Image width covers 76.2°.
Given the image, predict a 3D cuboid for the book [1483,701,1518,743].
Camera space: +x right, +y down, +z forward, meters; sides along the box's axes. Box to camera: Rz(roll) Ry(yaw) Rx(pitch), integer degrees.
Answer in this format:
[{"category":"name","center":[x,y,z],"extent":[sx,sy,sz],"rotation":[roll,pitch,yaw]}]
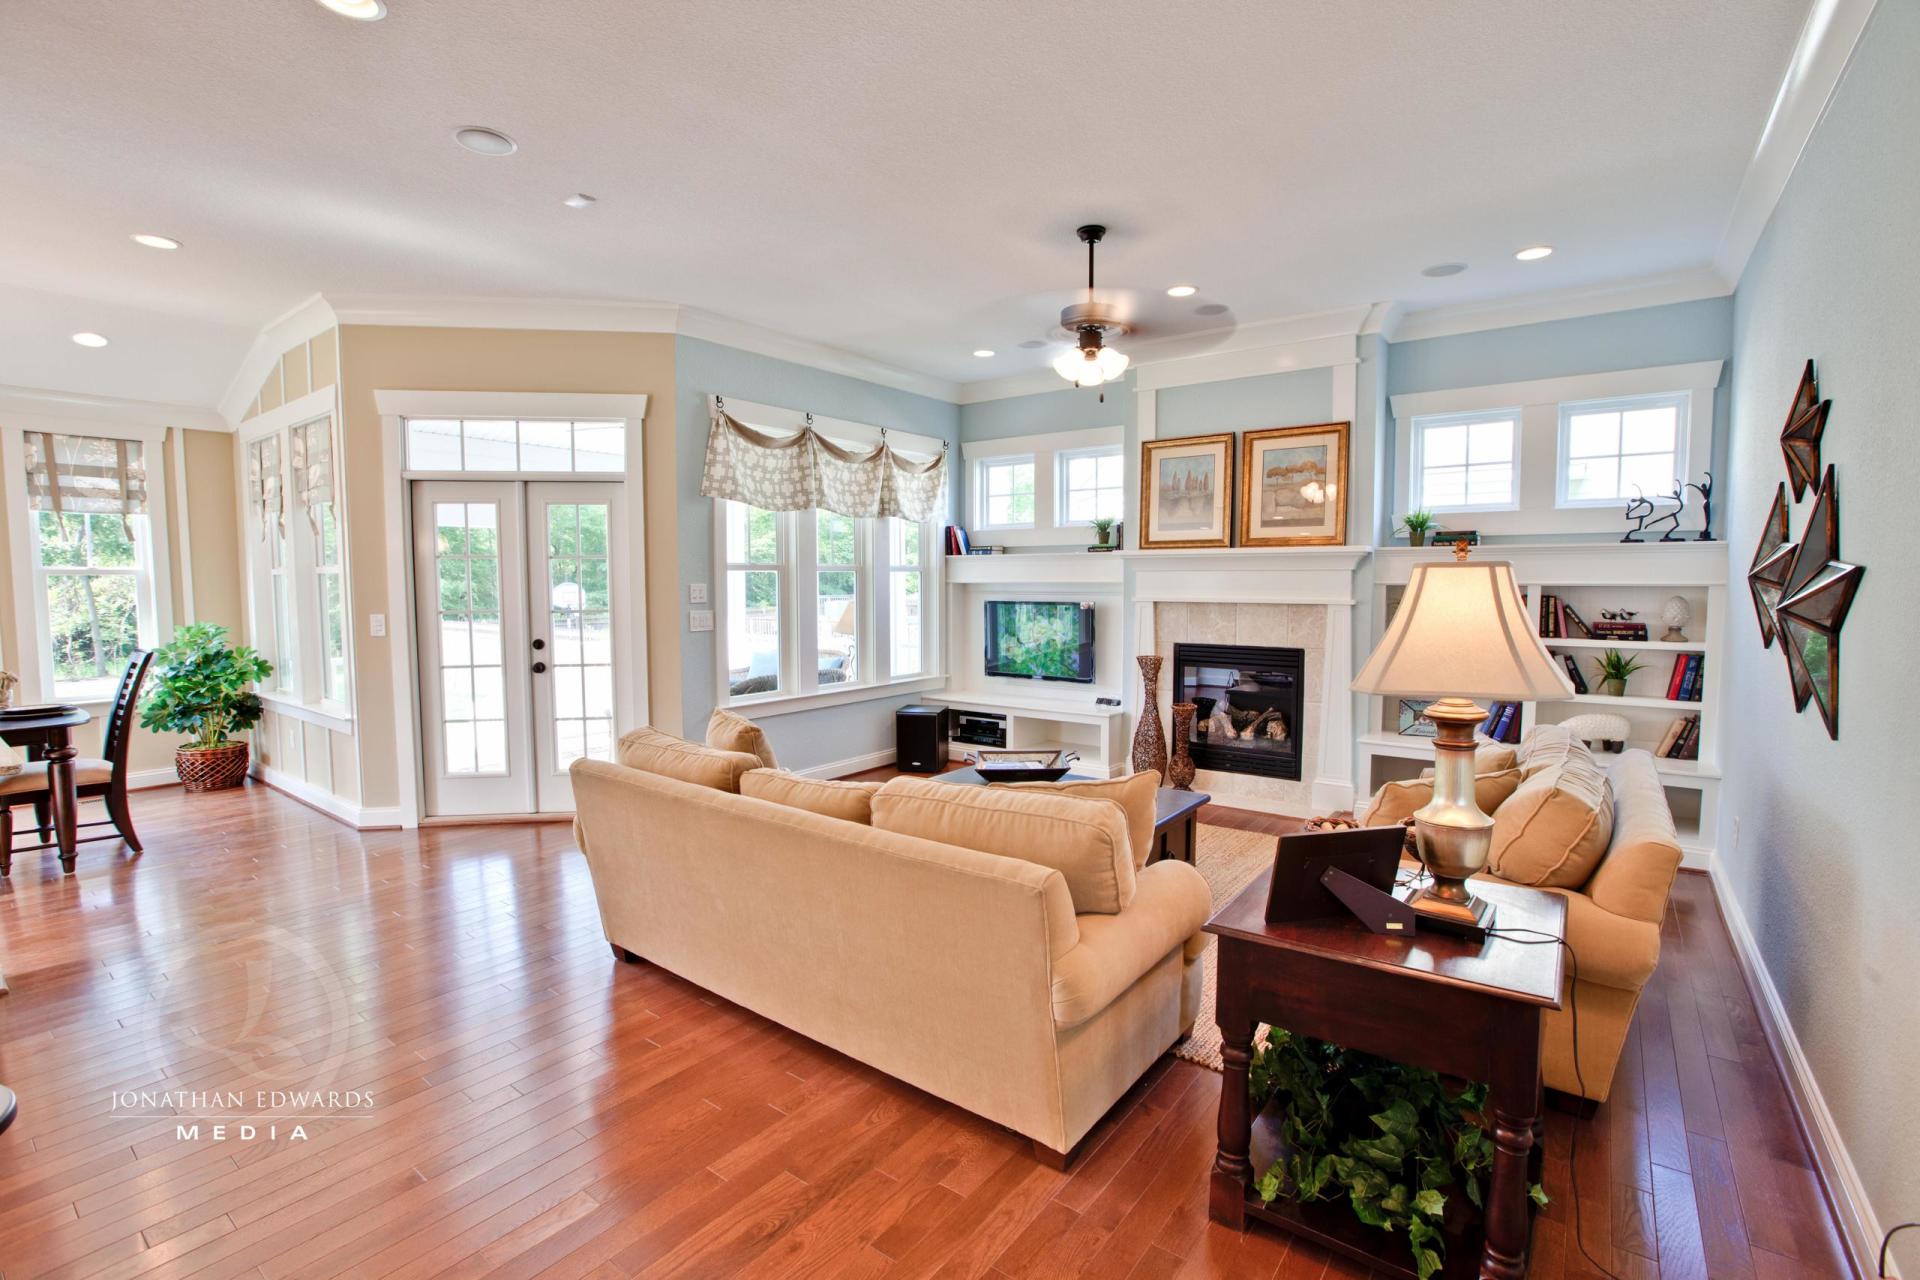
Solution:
[{"category":"book","center":[3.005,0.458,6.760],"extent":[0.064,0.235,0.241],"rotation":[11,-1,19]}]

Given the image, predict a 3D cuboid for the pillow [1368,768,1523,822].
[{"category":"pillow","center":[1.947,0.618,4.844],"extent":[0.350,0.132,0.345],"rotation":[-12,3,16]}]

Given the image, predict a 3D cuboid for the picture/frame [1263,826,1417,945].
[{"category":"picture/frame","center":[1.337,0.826,4.260],"extent":[0.457,0.325,0.379],"rotation":[3,-9,9]}]

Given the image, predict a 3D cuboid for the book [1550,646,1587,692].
[{"category":"book","center":[2.948,0.134,5.889],"extent":[0.227,0.206,0.058],"rotation":[32,-38,-28]}]

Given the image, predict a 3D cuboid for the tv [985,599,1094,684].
[{"category":"tv","center":[0.598,0.001,8.958],"extent":[0.886,0.588,0.024],"rotation":[3,7,26]}]

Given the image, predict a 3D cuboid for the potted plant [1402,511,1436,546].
[{"category":"potted plant","center":[2.787,-0.673,7.459],"extent":[0.213,0.209,0.211],"rotation":[0,-2,2]}]

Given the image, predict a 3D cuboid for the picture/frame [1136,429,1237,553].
[{"category":"picture/frame","center":[1.509,-0.975,7.931],"extent":[0.821,0.932,0.078],"rotation":[4,5,39]}]

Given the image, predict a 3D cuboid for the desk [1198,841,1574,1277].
[{"category":"desk","center":[1.476,1.369,4.322],"extent":[1.108,1.438,0.743],"rotation":[5,14,25]}]

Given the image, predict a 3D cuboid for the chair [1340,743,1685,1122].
[{"category":"chair","center":[2.287,1.435,5.092],"extent":[1.134,0.842,1.994],"rotation":[3,13,33]}]

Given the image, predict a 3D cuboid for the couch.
[{"category":"couch","center":[-0.321,1.167,4.997],"extent":[2.309,1.286,0.648],"rotation":[5,13,24]}]

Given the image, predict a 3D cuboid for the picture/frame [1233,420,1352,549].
[{"category":"picture/frame","center":[2.099,-0.968,7.562],"extent":[0.834,0.955,0.075],"rotation":[2,6,33]}]

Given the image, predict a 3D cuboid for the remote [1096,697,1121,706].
[{"category":"remote","center":[1.056,0.418,8.550],"extent":[0.170,0.017,0.322],"rotation":[1,11,4]}]

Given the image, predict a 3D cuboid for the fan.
[{"category":"fan","center":[0.776,-1.927,6.798],"extent":[1.201,0.742,1.199],"rotation":[7,37,38]}]

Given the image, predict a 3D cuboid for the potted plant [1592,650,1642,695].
[{"category":"potted plant","center":[3.758,0.187,6.988],"extent":[0.225,0.249,0.259],"rotation":[0,-3,43]}]
